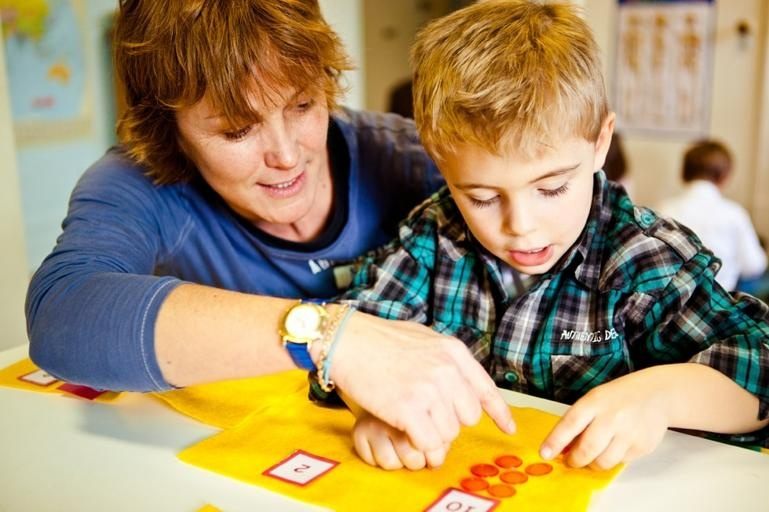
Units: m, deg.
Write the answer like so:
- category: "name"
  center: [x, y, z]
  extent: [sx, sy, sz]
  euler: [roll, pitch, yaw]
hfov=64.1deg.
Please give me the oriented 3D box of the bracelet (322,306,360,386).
- category: "bracelet"
  center: [-0.088, 0.169, 1.140]
  extent: [0.030, 0.115, 0.095]
  euler: [12, 0, 16]
